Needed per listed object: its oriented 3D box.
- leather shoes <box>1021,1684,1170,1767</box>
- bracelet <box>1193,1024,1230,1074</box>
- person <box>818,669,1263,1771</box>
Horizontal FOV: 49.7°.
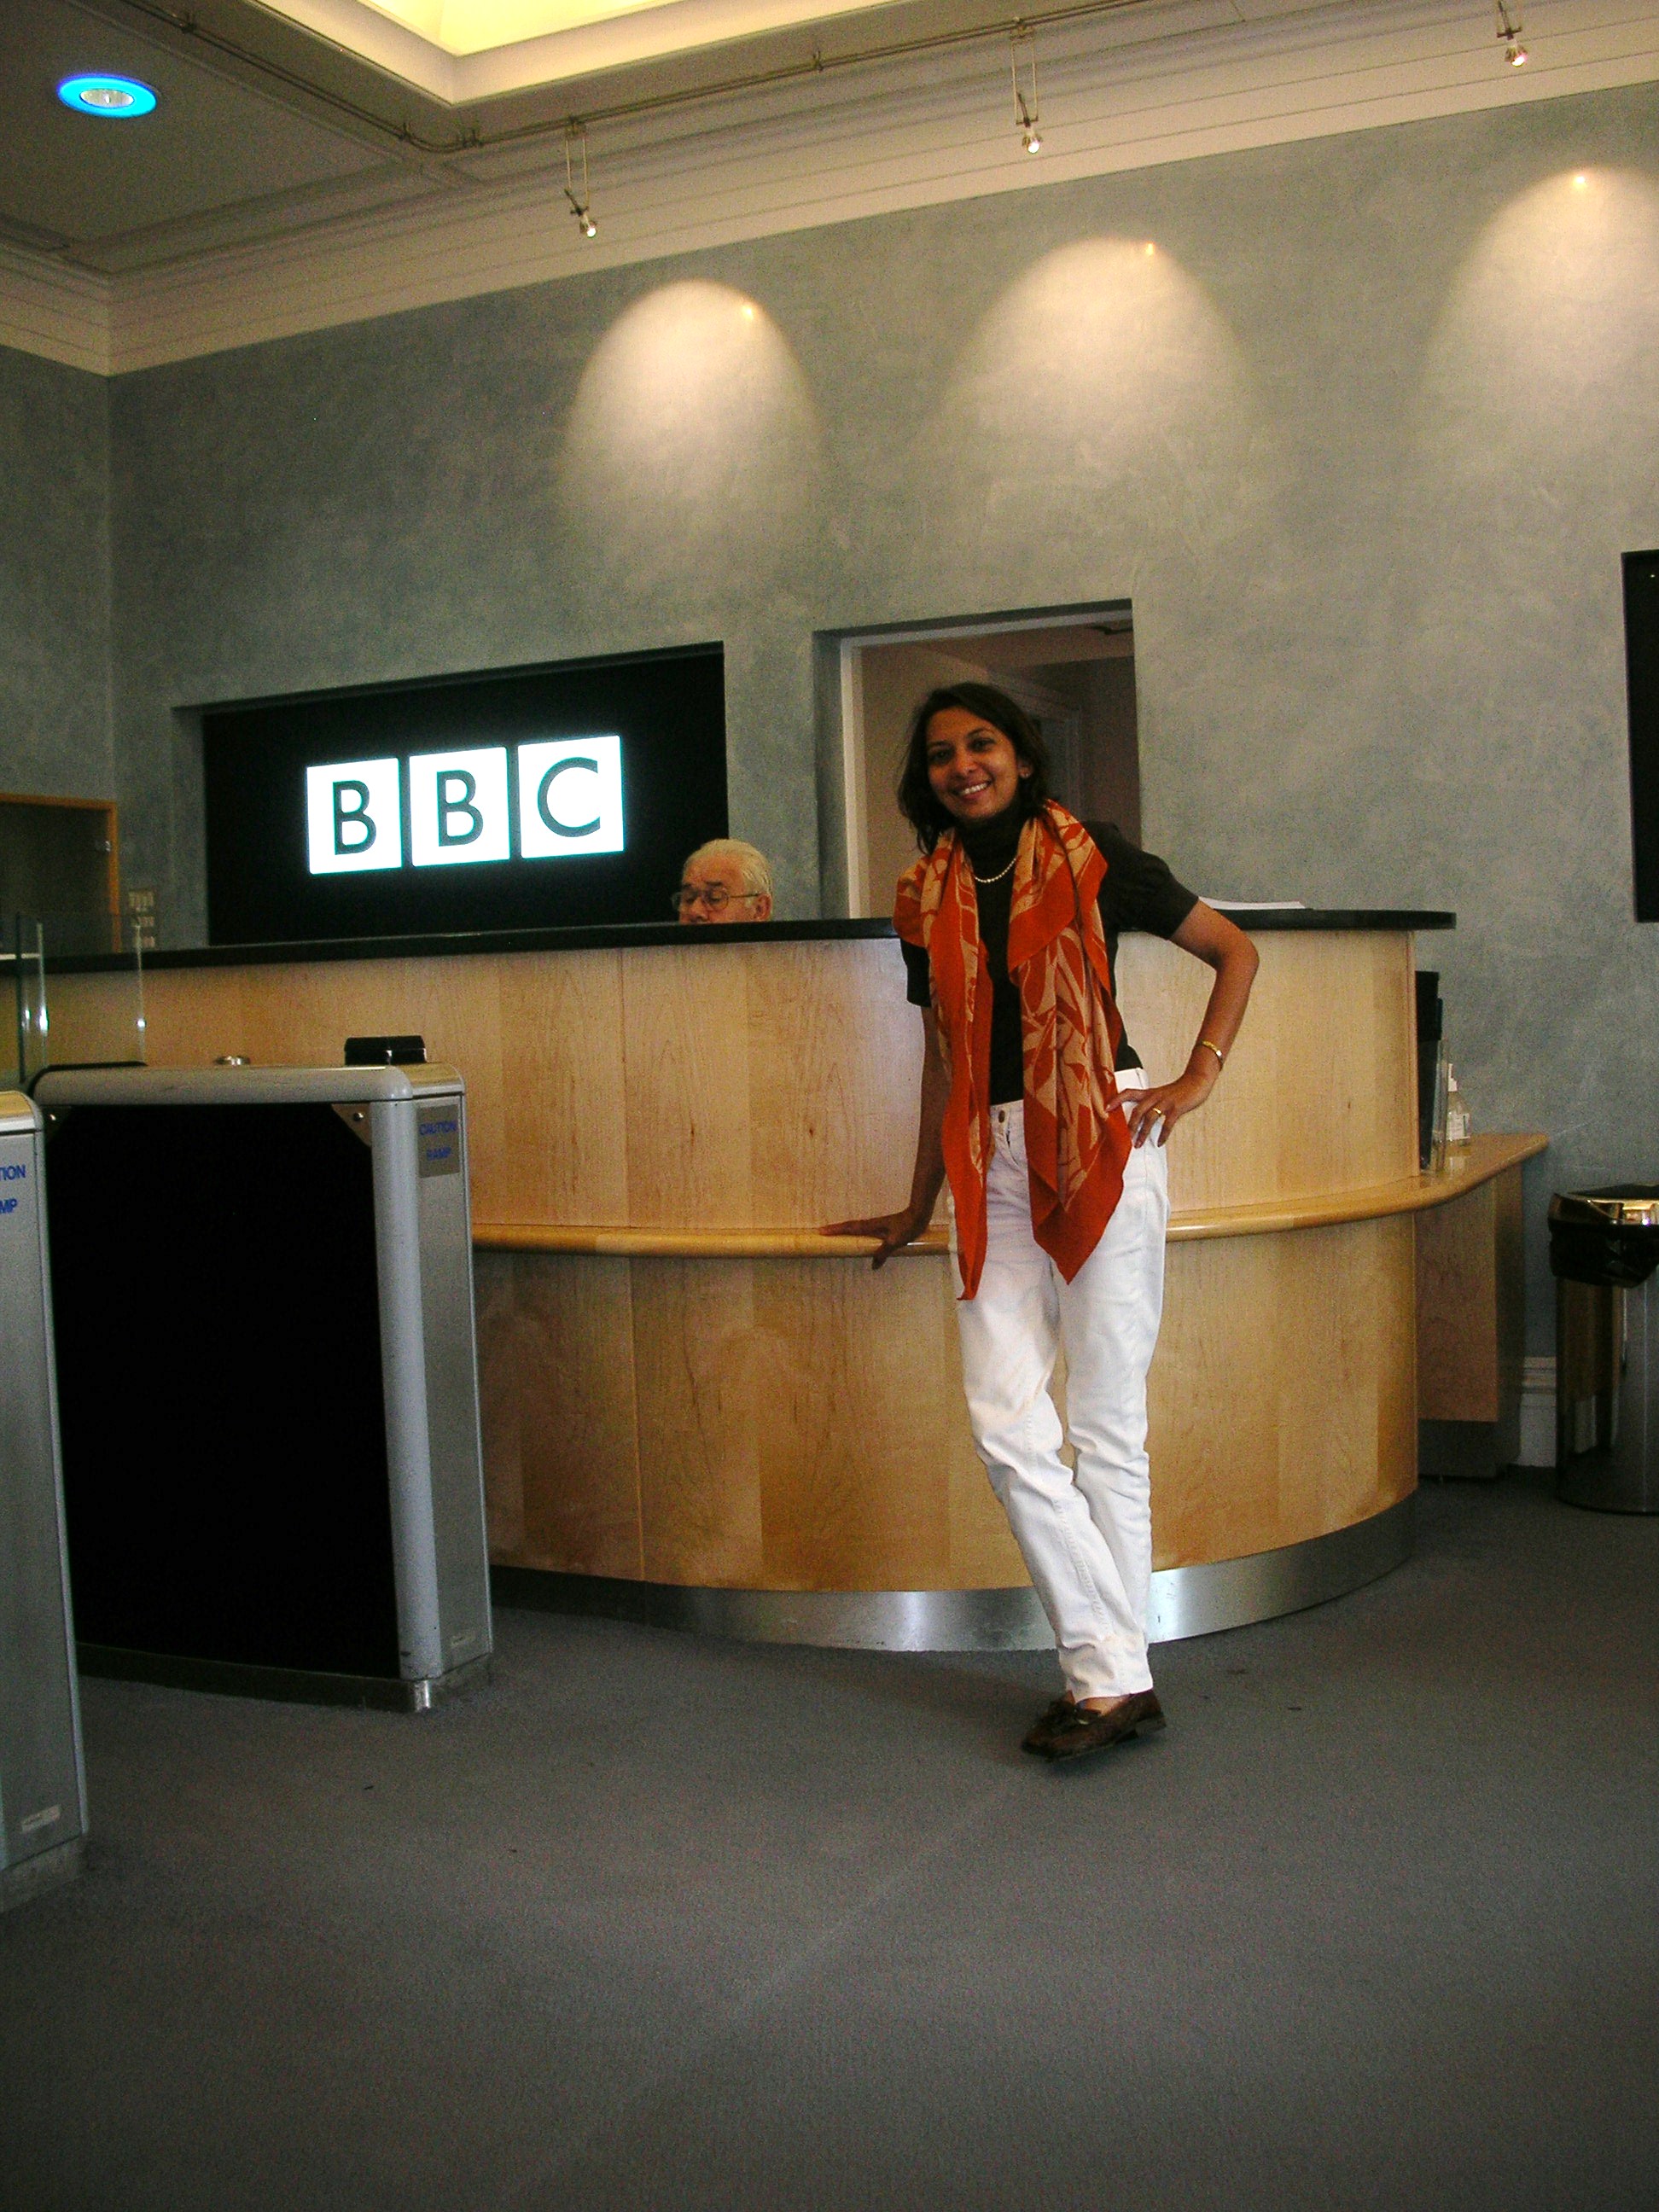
[{"bbox_3d":[0.399,0.940,2.743,0.177,0.081,0.106,4,-13,-32],"label":"leather shoes"},{"bbox_3d":[0.575,-0.079,2.700,0.040,0.056,0.057,2,-17,14],"label":"bracelet"},{"bbox_3d":[0.364,0.179,2.755,0.575,1.665,0.417,-2,6,24],"label":"person"}]
